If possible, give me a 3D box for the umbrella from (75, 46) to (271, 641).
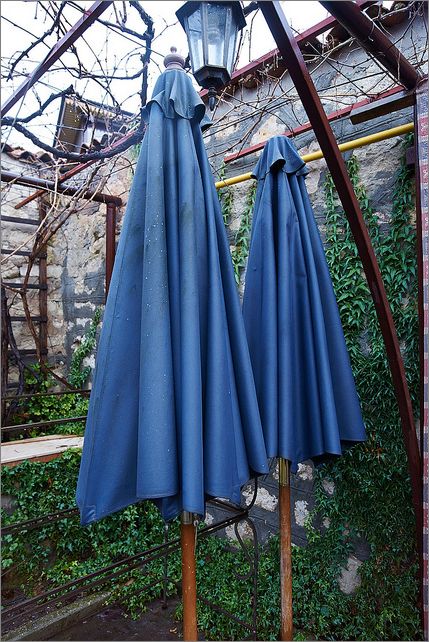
[{"bbox_3d":[-0.117,-0.014,1.280,0.544,1.806,0.301,-1,-4,-21],"label":"umbrella"}]
